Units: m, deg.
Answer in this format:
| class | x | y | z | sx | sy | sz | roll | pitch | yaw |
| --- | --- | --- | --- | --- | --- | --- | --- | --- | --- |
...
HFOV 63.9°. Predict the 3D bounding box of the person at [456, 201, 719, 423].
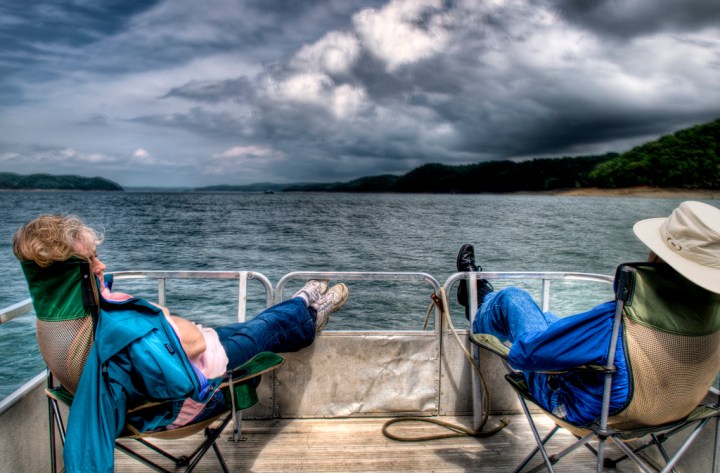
| class | x | y | z | sx | sy | sz | roll | pitch | yaw |
| --- | --- | --- | --- | --- | --- | --- | --- | --- | --- |
| person | 1.830 | 0.491 | 4.961 | 1.167 | 1.216 | 2.125 | 2 | 11 | -25 |
